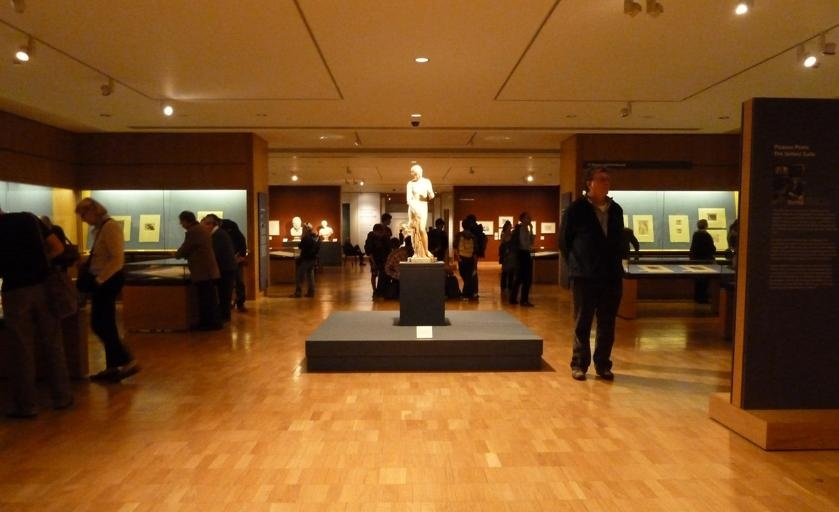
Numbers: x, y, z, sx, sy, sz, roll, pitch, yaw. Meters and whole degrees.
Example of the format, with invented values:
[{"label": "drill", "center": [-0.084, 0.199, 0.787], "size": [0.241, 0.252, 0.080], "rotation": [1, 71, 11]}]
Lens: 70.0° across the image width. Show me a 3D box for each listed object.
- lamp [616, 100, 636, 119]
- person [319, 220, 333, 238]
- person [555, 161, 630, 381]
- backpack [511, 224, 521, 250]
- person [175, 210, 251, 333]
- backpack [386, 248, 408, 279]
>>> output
[{"label": "lamp", "center": [4.022, -2.862, 11.701], "size": [0.175, 0.297, 0.302], "rotation": [0, 3, 4]}, {"label": "person", "center": [-3.716, -1.056, 23.987], "size": [0.764, 0.868, 0.470], "rotation": [1, 3, -15]}, {"label": "person", "center": [2.264, 0.224, 7.930], "size": [0.805, 2.776, 0.407], "rotation": [1, 6, 12]}, {"label": "backpack", "center": [2.000, -0.376, 12.474], "size": [0.183, 0.552, 0.339], "rotation": [0, 6, 8]}, {"label": "person", "center": [-3.763, 0.209, 10.785], "size": [0.753, 2.044, 1.049], "rotation": [-1, 6, -2]}, {"label": "backpack", "center": [-0.457, 0.167, 12.257], "size": [0.620, 0.646, 0.371], "rotation": [8, 3, -9]}]
